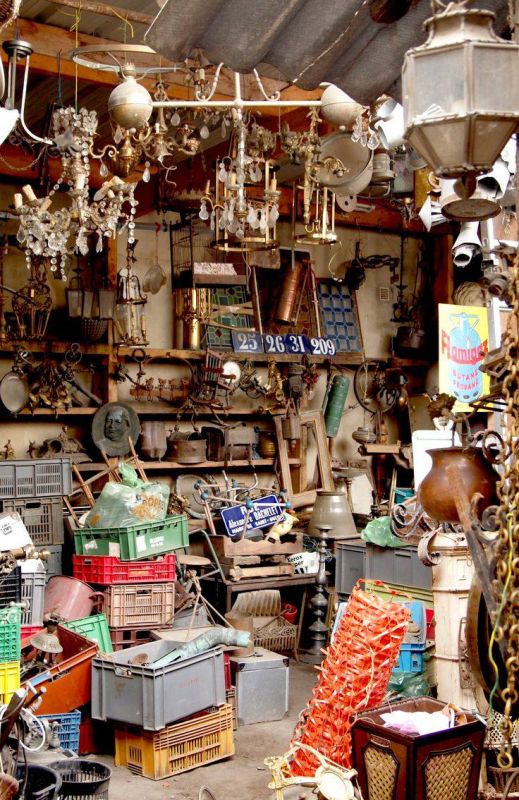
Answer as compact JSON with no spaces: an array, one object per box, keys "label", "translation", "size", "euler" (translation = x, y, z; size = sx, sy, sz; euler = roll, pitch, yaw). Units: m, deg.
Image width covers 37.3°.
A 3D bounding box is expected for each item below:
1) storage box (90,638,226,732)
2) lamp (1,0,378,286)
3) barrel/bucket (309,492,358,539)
[{"label":"storage box","translation":[-0.510,1.381,3.884],"size":[0.441,0.302,0.581],"euler":[-7,-10,40]},{"label":"lamp","translation":[-0.425,-1.042,3.245],"size":[1.742,0.845,1.596],"euler":[-1,7,-5]},{"label":"barrel/bucket","translation":[0.635,0.982,6.721],"size":[0.408,0.275,0.401],"euler":[0,-3,0]}]
